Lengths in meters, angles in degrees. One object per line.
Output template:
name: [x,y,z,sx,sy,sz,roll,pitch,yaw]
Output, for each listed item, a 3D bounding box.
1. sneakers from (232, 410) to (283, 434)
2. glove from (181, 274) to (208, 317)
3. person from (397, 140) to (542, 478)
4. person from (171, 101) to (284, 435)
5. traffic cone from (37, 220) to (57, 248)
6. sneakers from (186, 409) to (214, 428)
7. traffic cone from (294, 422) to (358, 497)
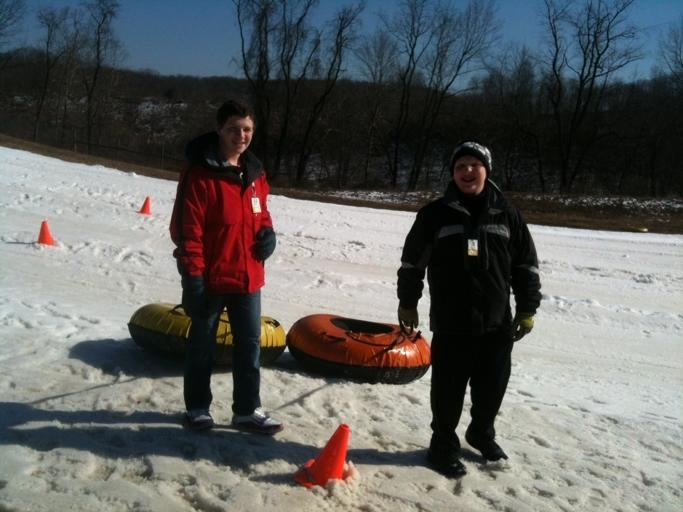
sneakers: [-0.689,1.369,4.588,0.452,0.229,0.173,3,9,0]
glove: [-1.142,0.294,4.258,0.179,0.265,0.184,-27,-25,31]
person: [0.972,0.407,4.296,1.054,2.513,0.624,11,13,20]
person: [-0.942,0.100,4.365,0.803,2.608,0.604,2,12,-17]
traffic cone: [-5.313,-0.427,9.822,0.286,0.404,0.423,0,13,-28]
sneakers: [-1.178,1.313,4.454,0.119,0.076,0.224,4,-7,-27]
traffic cone: [-0.100,1.441,4.133,0.445,0.478,0.413,7,21,-43]
